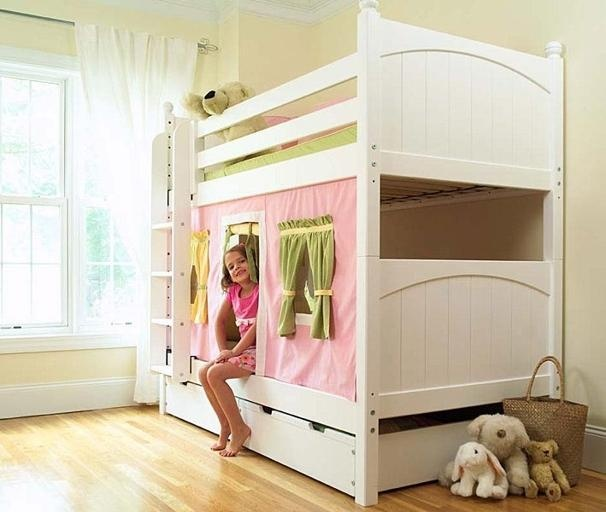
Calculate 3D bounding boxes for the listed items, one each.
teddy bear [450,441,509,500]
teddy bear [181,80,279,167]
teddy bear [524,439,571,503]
[{"bbox_3d":[0.662,0.823,1.927,0.202,0.190,0.193,27,-29,-32],"label":"teddy bear"},{"bbox_3d":[-0.426,-0.798,2.780,0.445,0.501,0.169,-21,27,-1],"label":"teddy bear"},{"bbox_3d":[0.959,0.829,1.963,0.158,0.201,0.152,-1,-5,16],"label":"teddy bear"}]
